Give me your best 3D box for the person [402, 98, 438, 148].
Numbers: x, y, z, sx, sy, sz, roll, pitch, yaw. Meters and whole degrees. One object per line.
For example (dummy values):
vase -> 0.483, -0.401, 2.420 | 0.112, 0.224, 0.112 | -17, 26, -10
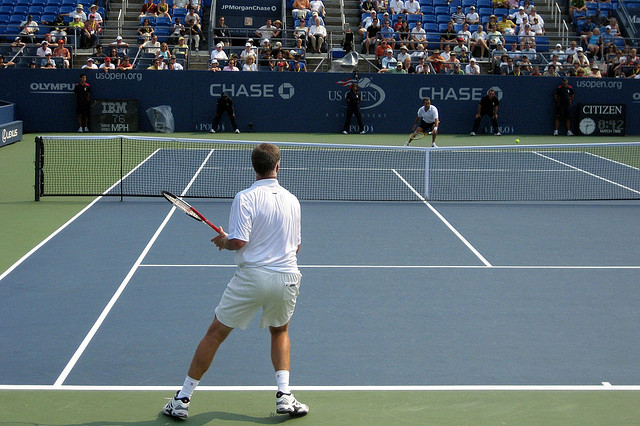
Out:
person -> 3.239, -2.811, 24.315 | 0.999, 1.526, 1.814 | 3, 0, 13

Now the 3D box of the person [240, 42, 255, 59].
person -> -2.598, -5.760, 27.683 | 0.466, 0.591, 0.737 | 0, 8, -7

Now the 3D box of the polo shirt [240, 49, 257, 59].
polo shirt -> -2.572, -5.510, 27.677 | 0.558, 0.489, 0.293 | 0, 1, -10

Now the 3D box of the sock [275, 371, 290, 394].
sock -> -0.444, 1.934, 9.010 | 0.145, 0.250, 0.110 | -1, 8, -12

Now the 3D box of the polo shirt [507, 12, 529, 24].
polo shirt -> 7.831, -7.805, 31.288 | 0.730, 0.408, 0.175 | 19, 33, 36

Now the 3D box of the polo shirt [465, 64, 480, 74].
polo shirt -> 5.420, -5.261, 28.151 | 0.504, 0.516, 0.298 | 1, 11, 9

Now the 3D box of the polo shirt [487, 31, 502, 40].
polo shirt -> 6.543, -6.897, 29.779 | 0.529, 0.544, 0.292 | 1, 4, 8

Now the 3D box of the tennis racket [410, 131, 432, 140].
tennis racket -> 2.851, -2.288, 23.092 | 0.114, 0.318, 0.874 | -29, -11, 33

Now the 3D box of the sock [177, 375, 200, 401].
sock -> -1.529, 2.025, 9.053 | 0.104, 0.250, 0.319 | 29, -46, -21

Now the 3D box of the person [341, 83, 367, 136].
person -> 1.069, -3.650, 27.284 | 0.743, 1.765, 0.807 | 4, 9, 24

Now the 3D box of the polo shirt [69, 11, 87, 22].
polo shirt -> -9.006, -7.299, 29.029 | 0.907, 0.305, 1.034 | 7, 16, -11

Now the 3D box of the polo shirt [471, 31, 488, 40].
polo shirt -> 5.944, -6.731, 29.642 | 0.520, 0.446, 0.177 | 2, 5, 14

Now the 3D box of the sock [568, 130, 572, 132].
sock -> 8.824, -2.942, 27.916 | 0.169, 0.069, 0.043 | -2, 9, -20

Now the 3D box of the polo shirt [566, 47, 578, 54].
polo shirt -> 9.270, -6.055, 29.209 | 0.400, 0.298, 0.229 | 4, 17, 8

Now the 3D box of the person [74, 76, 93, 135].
person -> -7.994, -3.675, 26.318 | 0.410, 1.841, 0.635 | -2, 8, -18

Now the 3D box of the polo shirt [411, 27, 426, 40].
polo shirt -> 3.595, -6.742, 29.357 | 0.597, 0.569, 0.328 | 0, 7, 0

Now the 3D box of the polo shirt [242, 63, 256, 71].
polo shirt -> -2.508, -5.075, 27.264 | 0.464, 0.381, 0.269 | 1, -8, -3

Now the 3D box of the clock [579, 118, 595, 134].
clock -> 9.390, -3.104, 27.824 | 0.490, 0.541, 0.515 | 5, 9, 16

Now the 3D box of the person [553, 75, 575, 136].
person -> 8.510, -3.786, 27.617 | 0.738, 2.029, 0.583 | 2, 8, 11

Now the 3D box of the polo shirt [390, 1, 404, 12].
polo shirt -> 2.985, -8.227, 31.090 | 0.422, 0.417, 0.159 | 1, 2, 3

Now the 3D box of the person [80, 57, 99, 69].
person -> -7.938, -5.179, 26.880 | 0.493, 0.298, 0.724 | -1, 0, -4

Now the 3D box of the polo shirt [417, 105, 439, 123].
polo shirt -> 3.240, -3.002, 23.963 | 0.788, 0.670, 0.413 | 1, -1, 26

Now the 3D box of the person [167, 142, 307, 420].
person -> -0.797, 0.788, 8.993 | 1.290, 3.144, 0.519 | 1, 8, -2
